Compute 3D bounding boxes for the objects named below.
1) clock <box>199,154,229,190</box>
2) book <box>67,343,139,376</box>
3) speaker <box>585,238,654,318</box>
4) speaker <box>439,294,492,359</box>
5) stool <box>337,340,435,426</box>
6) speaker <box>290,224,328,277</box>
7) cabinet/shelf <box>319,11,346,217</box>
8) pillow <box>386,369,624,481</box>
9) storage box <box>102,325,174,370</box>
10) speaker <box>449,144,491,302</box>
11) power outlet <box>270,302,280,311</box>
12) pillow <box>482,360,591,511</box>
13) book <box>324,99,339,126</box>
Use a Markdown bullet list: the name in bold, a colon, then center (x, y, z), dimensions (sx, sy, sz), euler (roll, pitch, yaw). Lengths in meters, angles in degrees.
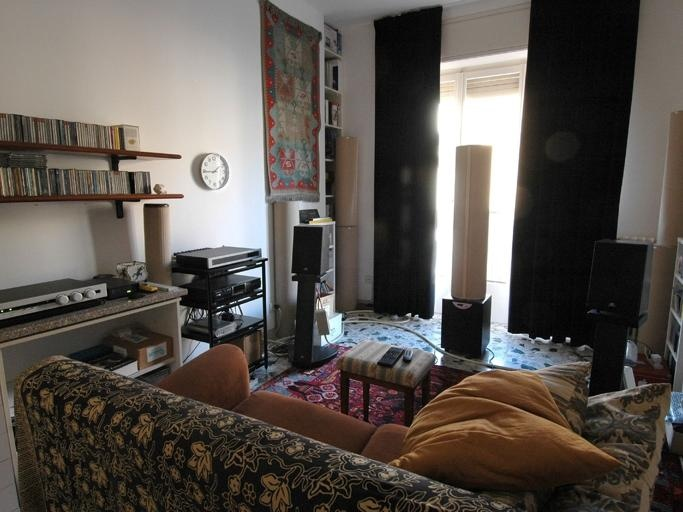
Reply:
- **clock**: center (-0.965, -0.630, 3.649), dimensions (0.032, 0.226, 0.227), euler (5, -27, 25)
- **book**: center (-1.358, 0.602, 2.820), dimensions (0.323, 0.077, 0.304), euler (12, 10, 24)
- **speaker**: center (1.559, 0.129, 2.729), dimensions (0.297, 0.424, 0.235), euler (3, 10, 31)
- **speaker**: center (1.030, 0.580, 4.284), dimensions (0.435, 0.633, 0.491), euler (3, 7, 30)
- **stool**: center (0.269, 0.854, 3.039), dimensions (0.523, 0.518, 0.414), euler (6, 12, 23)
- **speaker**: center (-0.236, -0.041, 3.807), dimensions (0.308, 0.392, 0.234), euler (-4, 9, -14)
- **cabinet/shelf**: center (-0.077, -1.391, 5.123), dimensions (0.235, 2.013, 0.433), euler (-2, 8, 2)
- **pillow**: center (0.512, 0.579, 1.530), dimensions (0.439, 0.132, 0.411), euler (-3, 5, 40)
- **storage box**: center (-1.184, 0.487, 2.946), dimensions (0.322, 0.105, 0.225), euler (12, 17, 34)
- **speaker**: center (1.041, -0.252, 3.926), dimensions (0.302, 1.241, 0.182), euler (1, 9, 17)
- **power outlet**: center (-0.600, 0.466, 4.408), dimensions (0.075, 0.046, 0.017), euler (2, 7, 16)
- **pillow**: center (0.739, 0.746, 1.939), dimensions (0.359, 0.174, 0.592), euler (8, 19, 19)
- **book**: center (-0.108, -1.487, 5.088), dimensions (0.180, 0.273, 0.296), euler (3, 20, 17)
